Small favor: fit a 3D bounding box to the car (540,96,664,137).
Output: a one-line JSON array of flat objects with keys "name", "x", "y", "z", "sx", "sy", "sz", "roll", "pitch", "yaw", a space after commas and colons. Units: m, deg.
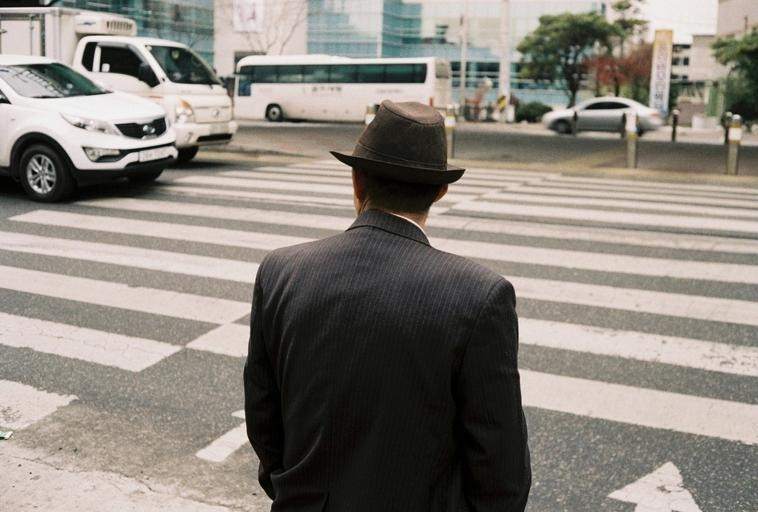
[{"name": "car", "x": 8.970, "y": -5.525, "z": 29.762, "sx": 4.366, "sy": 1.624, "sz": 2.372, "roll": 3, "pitch": 17, "yaw": 13}]
